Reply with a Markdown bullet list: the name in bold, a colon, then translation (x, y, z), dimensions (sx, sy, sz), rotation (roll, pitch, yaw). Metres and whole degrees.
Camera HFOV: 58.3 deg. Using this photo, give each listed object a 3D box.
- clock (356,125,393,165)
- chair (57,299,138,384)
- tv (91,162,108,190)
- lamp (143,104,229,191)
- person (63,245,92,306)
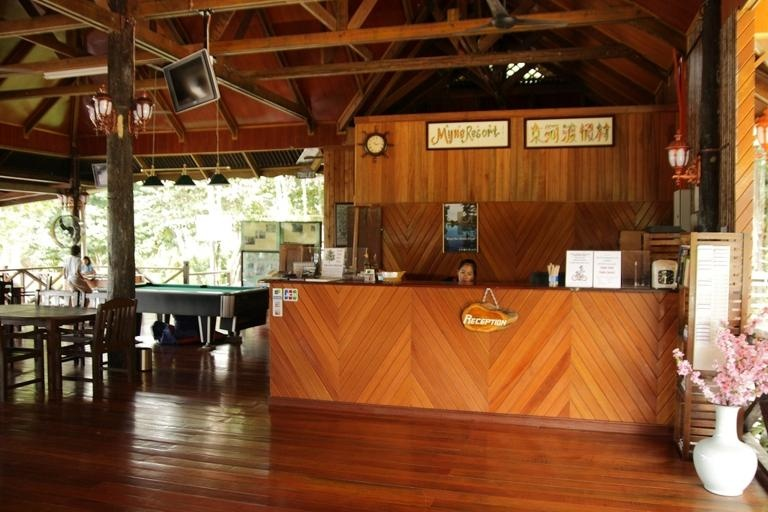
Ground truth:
- **clock**: translation (-0.131, -1.817, 11.116), dimensions (0.575, 0.624, 0.062), rotation (2, -2, 6)
- **chair**: translation (-4.146, 1.222, 9.947), dimensions (0.943, 1.305, 1.008), rotation (2, 4, -1)
- **tv**: translation (-7.008, -2.019, 16.982), dimensions (0.681, 0.666, 0.276), rotation (0, 0, 42)
- **lamp**: translation (-4.525, -2.582, 15.791), dimensions (1.920, 2.236, 0.459), rotation (1, 1, 6)
- **person**: translation (-5.653, 0.404, 12.675), dimensions (0.428, 1.152, 0.361), rotation (9, 17, 19)
